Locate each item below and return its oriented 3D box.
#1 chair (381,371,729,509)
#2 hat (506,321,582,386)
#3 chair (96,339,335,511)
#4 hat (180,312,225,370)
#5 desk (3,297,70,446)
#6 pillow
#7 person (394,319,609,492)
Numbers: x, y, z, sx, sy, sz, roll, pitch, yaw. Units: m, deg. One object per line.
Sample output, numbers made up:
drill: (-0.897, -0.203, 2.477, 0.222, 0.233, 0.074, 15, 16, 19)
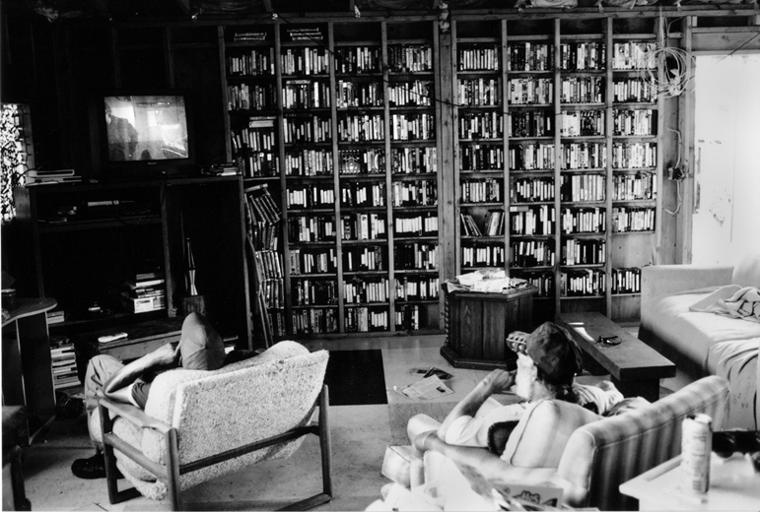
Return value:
chair: (1.373, 1.081, 3.945, 1.597, 0.492, 0.496, -8, 16, -20)
hat: (1.008, 0.590, 4.086, 0.283, 0.426, 0.250, -38, -16, -35)
chair: (-1.292, 0.952, 5.012, 1.244, 1.282, 1.406, -5, 8, -34)
hat: (-1.260, 0.677, 4.684, 0.235, 0.460, 0.185, -18, -33, -15)
desk: (-3.035, 0.979, 5.772, 0.430, 1.170, 0.619, -4, 15, -7)
pillow: (0.947, 1.029, 3.785, 0.413, 0.425, 0.205, 20, 6, 16)
person: (0.815, 0.839, 4.402, 0.786, 1.059, 1.333, -6, 4, -30)
